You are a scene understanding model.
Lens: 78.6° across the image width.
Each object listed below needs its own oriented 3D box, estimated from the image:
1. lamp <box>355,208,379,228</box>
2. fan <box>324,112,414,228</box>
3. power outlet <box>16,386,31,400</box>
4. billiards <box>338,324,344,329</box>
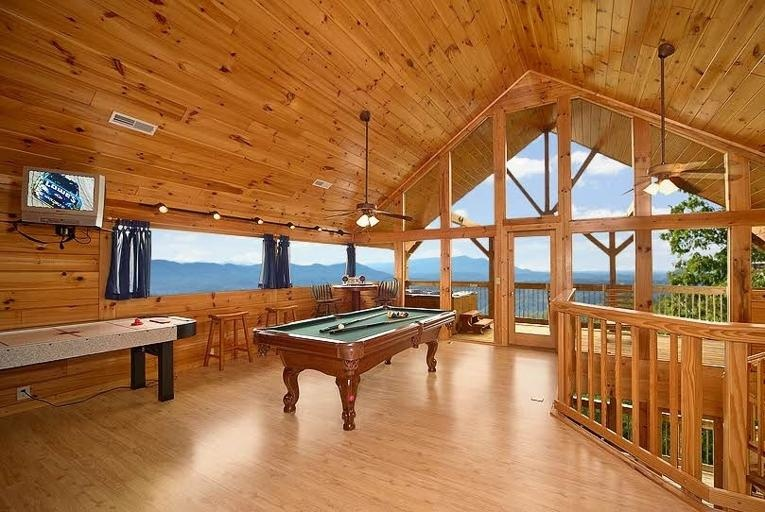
[{"bbox_3d":[-0.216,-0.604,7.035,0.420,0.330,0.373,-2,-11,6],"label":"lamp"},{"bbox_3d":[-0.260,-1.401,7.510,1.715,1.597,1.479,-10,17,-34],"label":"fan"},{"bbox_3d":[-4.679,1.767,6.074,0.045,0.140,0.179,5,-7,25],"label":"power outlet"},{"bbox_3d":[-0.529,0.924,6.163,0.054,0.032,0.047,15,25,4],"label":"billiards"}]
